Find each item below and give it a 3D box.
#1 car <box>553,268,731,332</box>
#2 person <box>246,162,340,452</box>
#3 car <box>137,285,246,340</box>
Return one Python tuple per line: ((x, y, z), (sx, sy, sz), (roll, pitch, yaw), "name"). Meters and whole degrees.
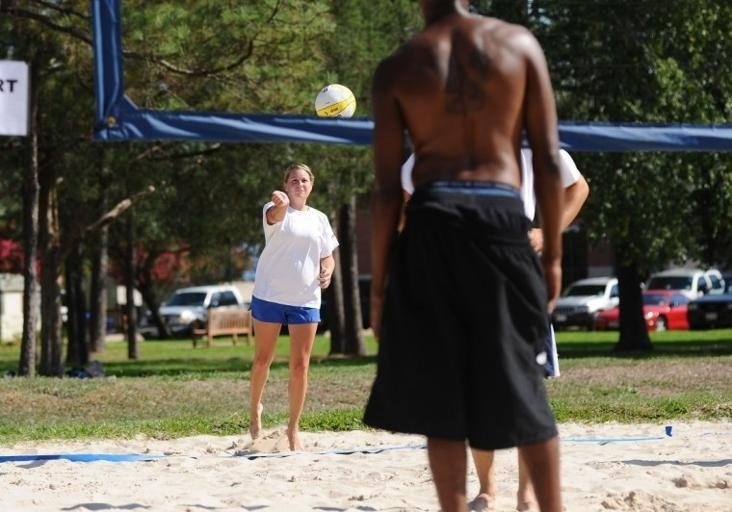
((6.301, 0.939, 35.888), (3.089, 1.197, 1.518), (2, -4, -23), "car")
((-1.002, 0.676, 20.122), (1.195, 3.759, 0.705), (-4, 10, -16), "person")
((-4.659, 1.543, 41.609), (1.274, 1.294, 2.753), (-3, -4, 34), "car")
